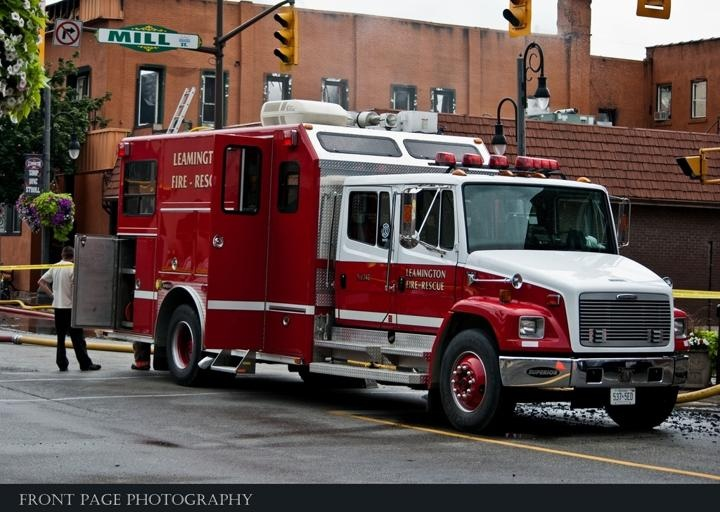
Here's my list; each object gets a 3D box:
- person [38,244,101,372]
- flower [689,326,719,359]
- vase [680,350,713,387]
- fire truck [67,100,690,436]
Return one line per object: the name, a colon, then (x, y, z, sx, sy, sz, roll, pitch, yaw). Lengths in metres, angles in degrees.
person: (-5.352, 1.002, 20.685, 0.873, 2.353, 1.008, 9, 4, 40)
flower: (5.649, 1.409, 18.837, 0.582, 0.314, 0.605, 4, 3, 24)
vase: (5.240, 1.774, 17.640, 0.596, 0.716, 0.913, 0, -1, 10)
fire truck: (0.068, 0.133, 18.080, 10.407, 4.404, 3.685, 0, 0, 39)
